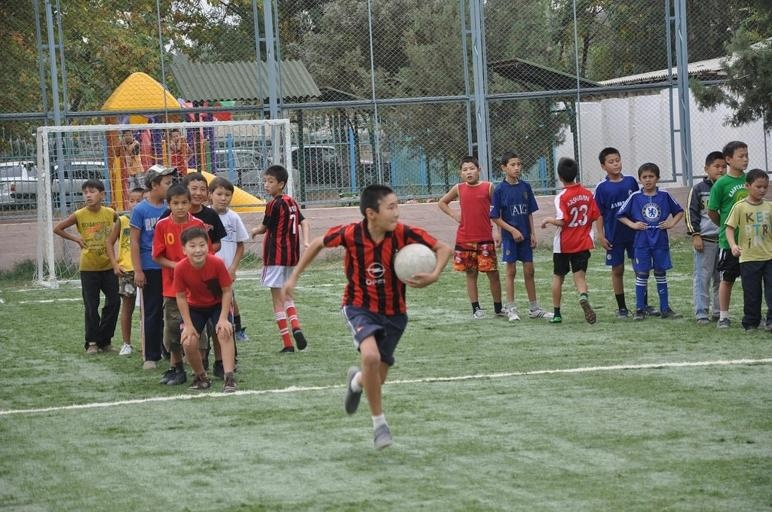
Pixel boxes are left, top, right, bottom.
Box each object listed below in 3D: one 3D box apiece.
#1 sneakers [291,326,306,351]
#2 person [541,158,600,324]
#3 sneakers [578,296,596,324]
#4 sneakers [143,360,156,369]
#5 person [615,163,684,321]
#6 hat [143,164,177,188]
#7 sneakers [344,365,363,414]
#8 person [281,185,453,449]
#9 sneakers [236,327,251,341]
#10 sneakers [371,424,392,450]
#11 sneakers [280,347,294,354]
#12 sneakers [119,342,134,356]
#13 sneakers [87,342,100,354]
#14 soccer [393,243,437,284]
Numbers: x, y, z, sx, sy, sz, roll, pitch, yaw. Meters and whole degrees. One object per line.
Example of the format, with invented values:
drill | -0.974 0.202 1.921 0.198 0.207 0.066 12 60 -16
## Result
sneakers | -1.070 1.069 12.026 0.128 0.352 0.154 -19 26 5
person | 2.603 -0.176 13.185 0.791 2.207 1.033 2 14 17
sneakers | 2.783 0.759 13.256 0.123 0.340 0.157 -25 -7 38
sneakers | -2.902 1.333 11.829 0.100 0.055 0.164 0 1 -4
person | 3.614 -0.190 13.101 0.843 2.027 0.694 0 13 7
hat | -2.828 -1.037 11.887 0.379 0.212 0.266 -27 3 2
sneakers | -0.311 1.376 9.772 0.193 0.488 0.165 13 13 38
person | -0.091 0.541 9.608 1.498 2.428 0.708 -2 13 2
sneakers | -1.910 1.058 12.862 0.088 0.110 0.248 -1 1 -38
sneakers | -0.016 1.771 9.519 0.199 0.258 0.317 -3 14 -2
sneakers | -1.250 1.201 12.224 0.144 0.054 0.077 3 -1 12
sneakers | -3.371 1.210 12.520 0.154 0.178 0.401 -1 -1 -14
sneakers | -3.804 1.190 12.478 0.107 0.114 0.265 2 -9 -13
soccer | 0.303 0.079 9.551 0.423 0.341 0.232 -1 14 2
